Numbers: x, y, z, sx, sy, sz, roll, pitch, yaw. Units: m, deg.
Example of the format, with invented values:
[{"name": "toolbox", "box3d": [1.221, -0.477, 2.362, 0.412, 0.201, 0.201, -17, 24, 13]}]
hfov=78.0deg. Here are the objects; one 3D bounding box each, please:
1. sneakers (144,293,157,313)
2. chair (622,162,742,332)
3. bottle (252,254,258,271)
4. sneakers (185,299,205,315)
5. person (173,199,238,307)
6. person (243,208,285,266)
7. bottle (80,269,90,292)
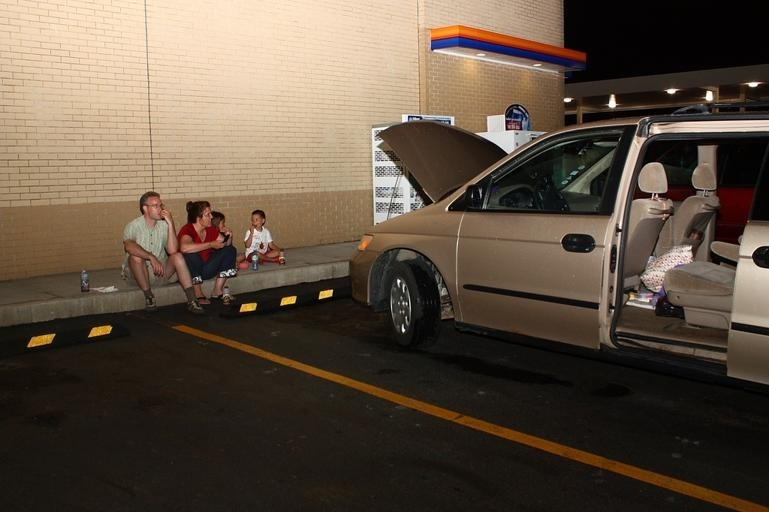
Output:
[{"name": "sneakers", "box3d": [-3.614, 0.726, 7.480, 0.117, 0.231, 0.345, -2, 17, -13]}, {"name": "chair", "box3d": [2.936, -0.188, 4.660, 0.837, 1.432, 1.533, 6, 12, 36]}, {"name": "bottle", "box3d": [-2.453, 0.128, 9.029, 0.111, 0.248, 0.345, -4, 10, -15]}, {"name": "sneakers", "box3d": [-2.932, 0.782, 7.368, 0.381, 0.195, 0.159, 5, 11, 29]}, {"name": "person", "box3d": [-2.869, -0.077, 7.733, 0.961, 1.613, 0.927, 1, 3, 28]}, {"name": "person", "box3d": [-2.458, -0.384, 9.569, 0.739, 1.007, 0.847, -4, 11, -41]}, {"name": "bottle", "box3d": [-4.811, 0.398, 7.640, 0.131, 0.315, 0.355, -7, 12, -34]}]
